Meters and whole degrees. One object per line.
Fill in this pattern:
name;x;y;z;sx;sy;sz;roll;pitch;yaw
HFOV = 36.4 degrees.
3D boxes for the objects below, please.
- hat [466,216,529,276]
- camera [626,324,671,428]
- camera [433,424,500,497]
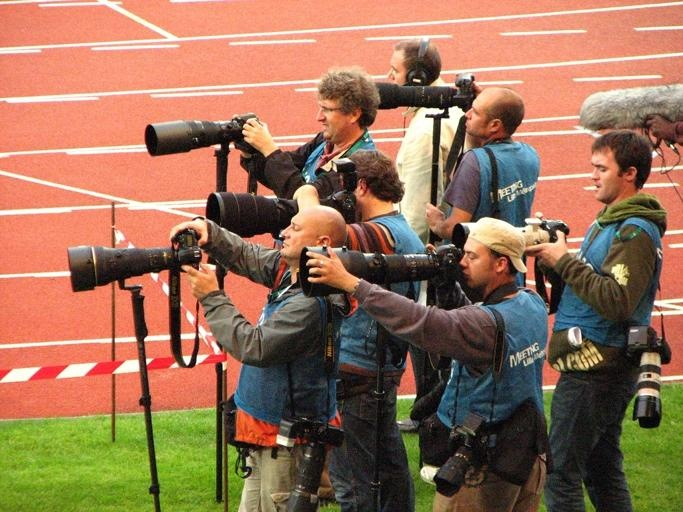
hat;1.111;-0.069;7.389;0.465;0.222;0.287;26;7;-12
camera;2.302;0.920;7.798;0.287;0.529;0.385;-1;-1;19
camera;0.844;1.397;7.190;0.197;0.456;0.483;12;49;43
